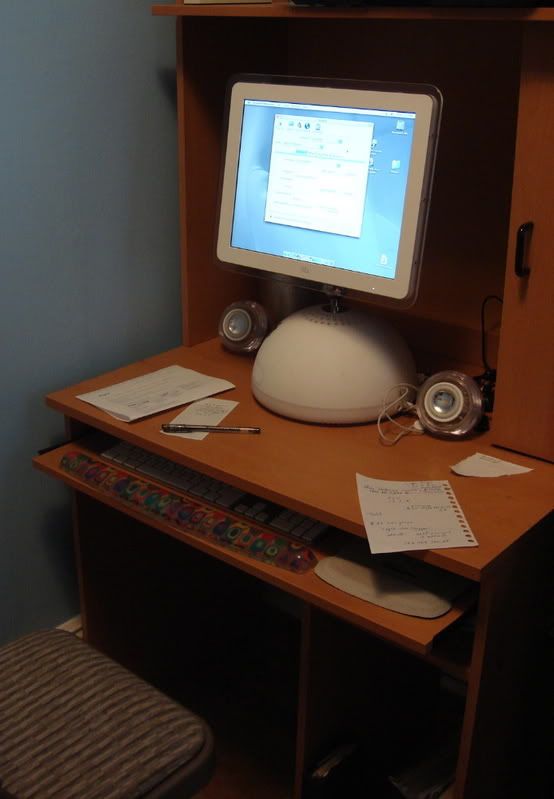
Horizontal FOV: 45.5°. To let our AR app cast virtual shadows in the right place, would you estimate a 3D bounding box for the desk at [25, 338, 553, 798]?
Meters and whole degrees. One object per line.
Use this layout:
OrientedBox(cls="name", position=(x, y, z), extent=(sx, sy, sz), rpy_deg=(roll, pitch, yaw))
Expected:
OrientedBox(cls="desk", position=(0.015, 0.294, 1.032), extent=(0.733, 0.635, 0.369), rpy_deg=(13, 10, 42))
